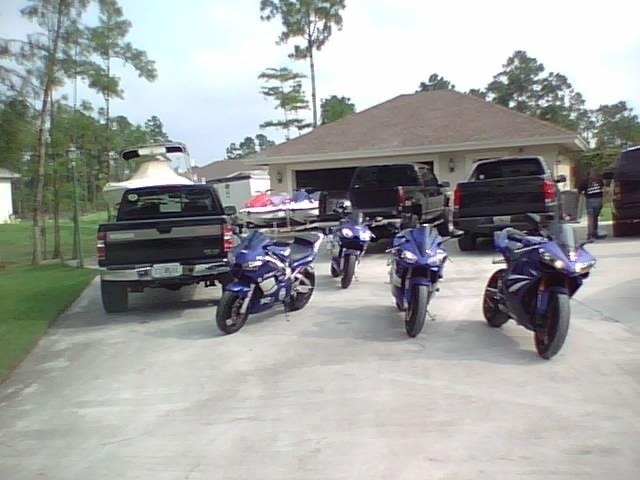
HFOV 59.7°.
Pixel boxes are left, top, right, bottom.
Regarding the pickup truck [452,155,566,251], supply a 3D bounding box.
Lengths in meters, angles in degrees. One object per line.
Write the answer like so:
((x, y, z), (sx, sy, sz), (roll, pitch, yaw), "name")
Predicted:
((4.637, -1.164, 13.524), (2.100, 1.281, 3.350), (-1, 13, 24), "pickup truck")

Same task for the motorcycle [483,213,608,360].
((2.584, 0.506, 6.625), (0.782, 1.568, 1.400), (-5, 11, 2), "motorcycle")

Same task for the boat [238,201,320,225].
((-1.452, -1.019, 21.925), (4.454, 0.886, 1.175), (-1, 2, 14), "boat")

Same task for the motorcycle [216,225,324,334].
((-0.778, 0.551, 8.336), (0.892, 1.473, 1.906), (-1, 11, 20), "motorcycle")

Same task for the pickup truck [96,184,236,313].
((-2.732, -0.153, 9.966), (2.055, 1.272, 3.219), (-3, 9, -14), "pickup truck")
